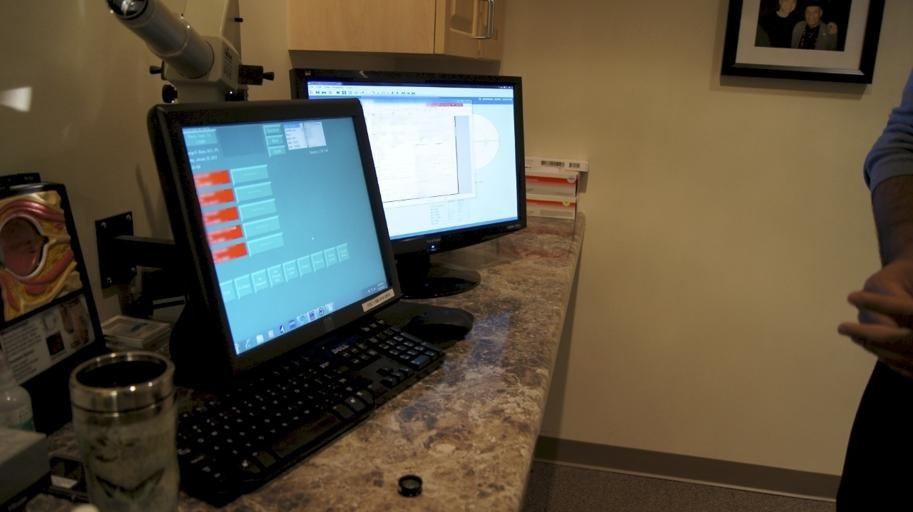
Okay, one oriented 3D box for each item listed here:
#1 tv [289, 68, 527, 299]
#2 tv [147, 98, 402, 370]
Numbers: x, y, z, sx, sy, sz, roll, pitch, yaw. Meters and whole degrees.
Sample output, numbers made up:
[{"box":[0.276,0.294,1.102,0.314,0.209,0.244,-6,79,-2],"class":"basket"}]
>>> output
[{"box":[-0.123,-0.235,1.993,0.356,0.700,0.995,13,19,40],"class":"tv"},{"box":[-0.431,-0.088,1.532,0.264,0.603,0.664,16,22,26],"class":"tv"}]
